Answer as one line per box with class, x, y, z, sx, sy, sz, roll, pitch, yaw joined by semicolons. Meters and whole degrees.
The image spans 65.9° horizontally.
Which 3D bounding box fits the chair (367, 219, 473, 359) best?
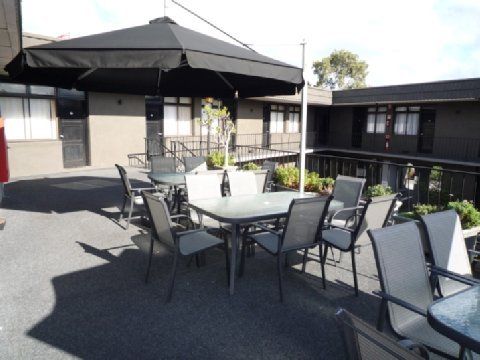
chair;1.792;0.925;3.640;0.748;1.411;0.991;-5;6;-28
